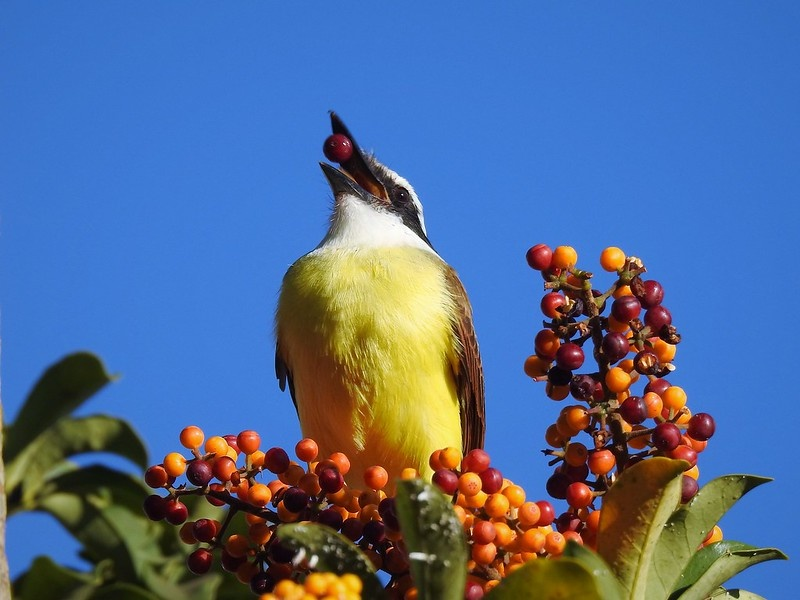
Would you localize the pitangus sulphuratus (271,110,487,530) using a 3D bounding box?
[{"bbox_3d":[-0.065,0.105,4.186,0.450,1.070,0.604,-4,-3,-12],"label":"pitangus sulphuratus"}]

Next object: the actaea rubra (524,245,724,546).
[{"bbox_3d":[0.475,0.177,3.513,0.435,0.886,0.401,0,-1,-28],"label":"actaea rubra"}]
